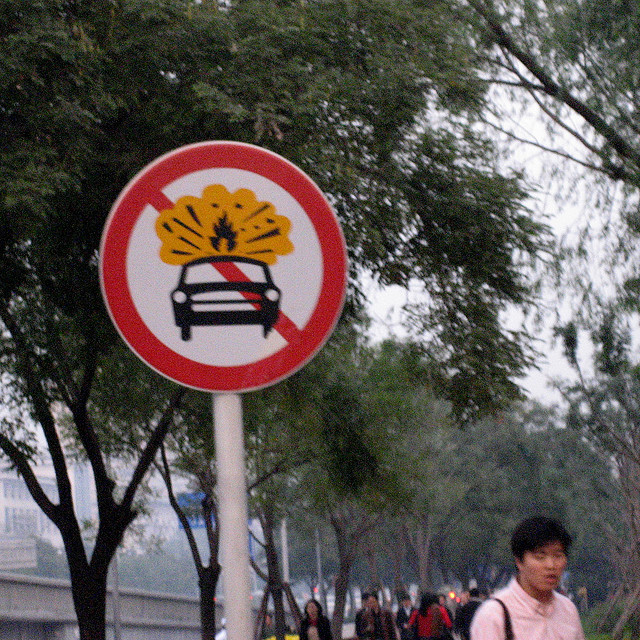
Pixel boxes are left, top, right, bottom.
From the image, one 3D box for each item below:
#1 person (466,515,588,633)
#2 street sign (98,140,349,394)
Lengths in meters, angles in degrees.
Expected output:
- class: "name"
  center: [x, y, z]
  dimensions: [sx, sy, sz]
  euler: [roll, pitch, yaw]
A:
- class: "person"
  center: [1.836, 2.322, 14.152]
  dimensions: [0.881, 1.075, 0.392]
  euler: [-12, -21, 9]
- class: "street sign"
  center: [-0.787, -0.491, 13.294]
  dimensions: [2.090, 0.218, 2.800]
  euler: [0, -47, -6]
